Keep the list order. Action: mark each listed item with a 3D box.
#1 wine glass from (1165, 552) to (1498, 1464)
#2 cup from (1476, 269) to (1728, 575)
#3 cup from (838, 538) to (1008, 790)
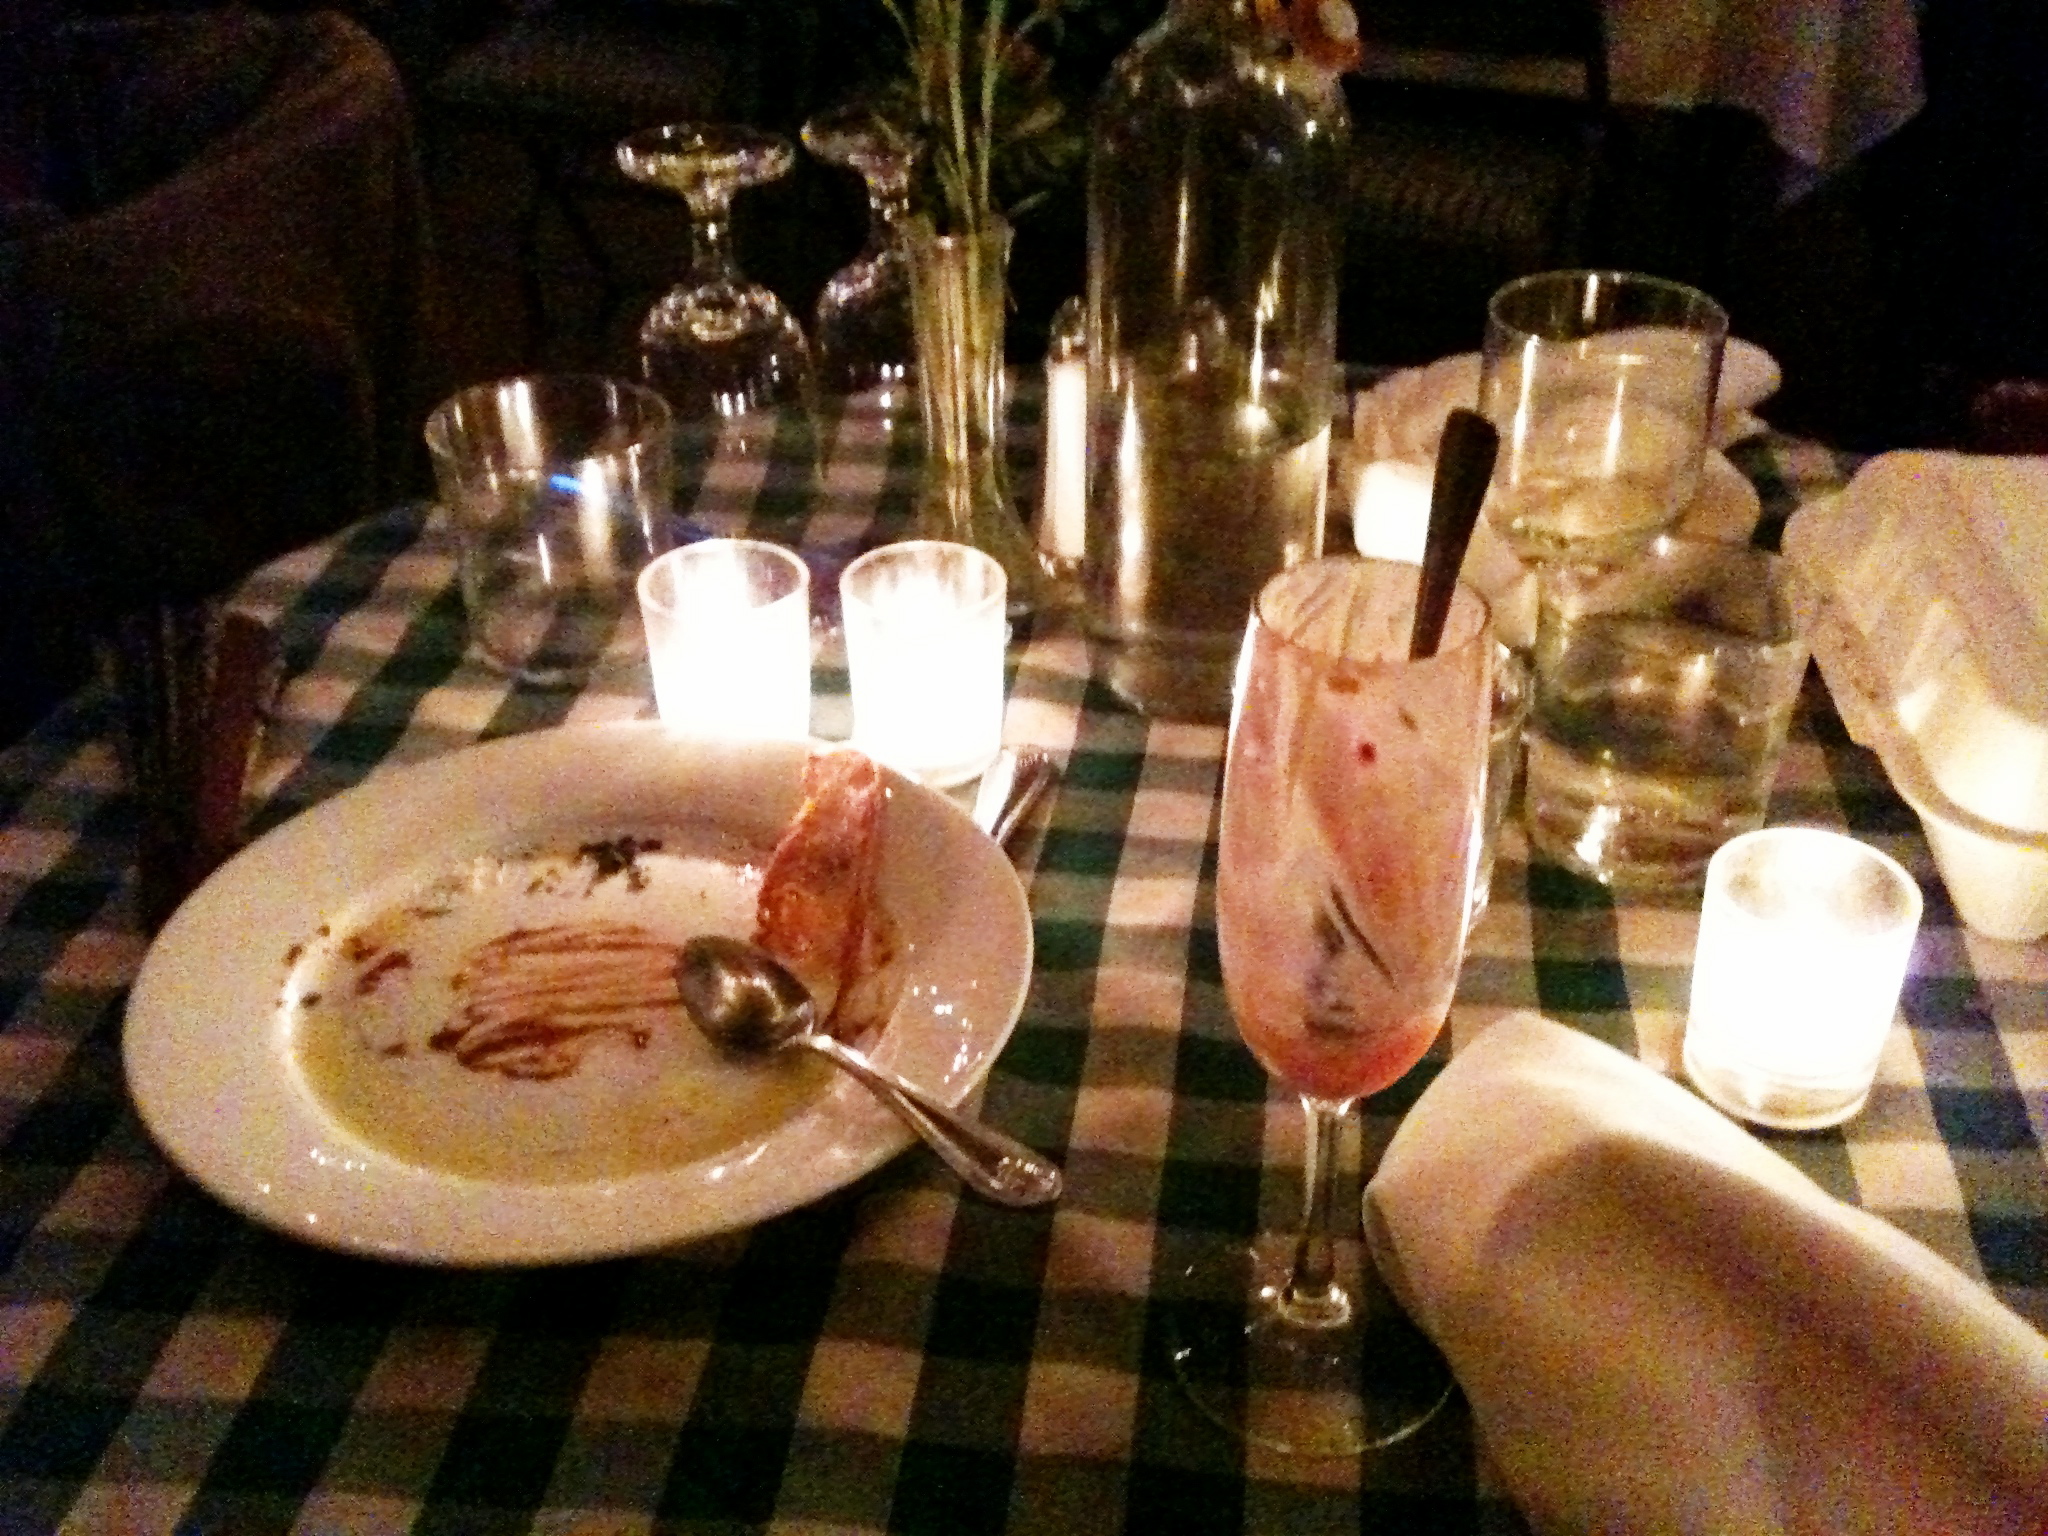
[{"bbox_3d":[0.157,0.093,0.824,0.139,0.380,0.278,6,34,8],"label":"wine glass"},{"bbox_3d":[0.408,-0.238,1.226,0.206,0.222,0.187,-1,32,1],"label":"cup"},{"bbox_3d":[-0.067,-0.065,1.156,0.113,0.126,0.112,0,32,0],"label":"cup"}]
